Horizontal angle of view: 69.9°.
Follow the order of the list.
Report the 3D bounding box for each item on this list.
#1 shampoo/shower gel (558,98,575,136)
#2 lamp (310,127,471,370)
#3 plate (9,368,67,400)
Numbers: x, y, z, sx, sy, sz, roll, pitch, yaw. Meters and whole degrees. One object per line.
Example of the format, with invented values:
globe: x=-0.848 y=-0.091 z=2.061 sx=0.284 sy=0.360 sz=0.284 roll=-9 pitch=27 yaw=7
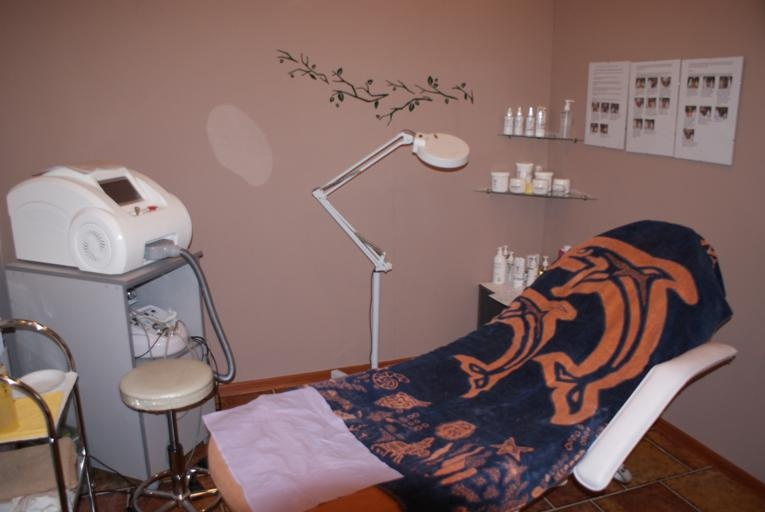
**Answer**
shampoo/shower gel: x=1.280 y=-0.962 z=3.823 sx=0.083 sy=0.262 sz=0.225 roll=6 pitch=17 yaw=11
lamp: x=0.036 y=0.145 z=3.128 sx=0.889 sy=1.551 sz=0.388 roll=4 pitch=19 yaw=8
plate: x=-1.507 y=0.547 z=2.436 sx=0.195 sy=0.055 sz=0.150 roll=6 pitch=17 yaw=21
